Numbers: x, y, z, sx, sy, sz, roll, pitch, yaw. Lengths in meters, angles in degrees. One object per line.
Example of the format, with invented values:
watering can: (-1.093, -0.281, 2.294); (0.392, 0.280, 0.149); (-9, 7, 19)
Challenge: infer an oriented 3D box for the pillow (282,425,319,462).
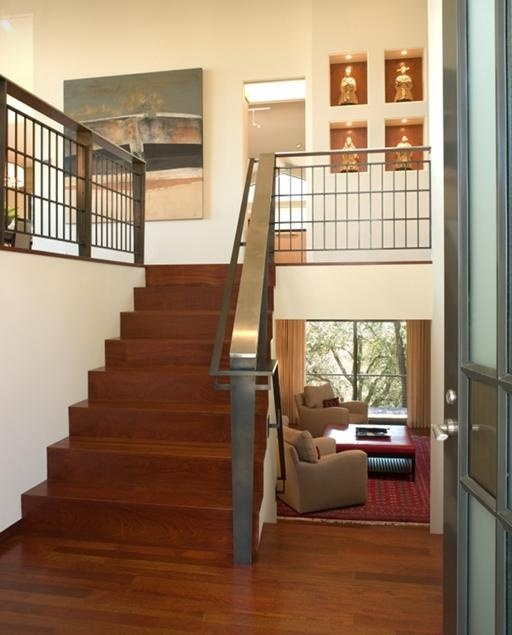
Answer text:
pillow: (0.414, 1.198, 5.056); (0.337, 0.339, 0.239); (0, 5, 0)

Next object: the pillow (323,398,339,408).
pillow: (1.109, 1.273, 8.065); (0.152, 0.138, 0.047); (6, -22, -24)
